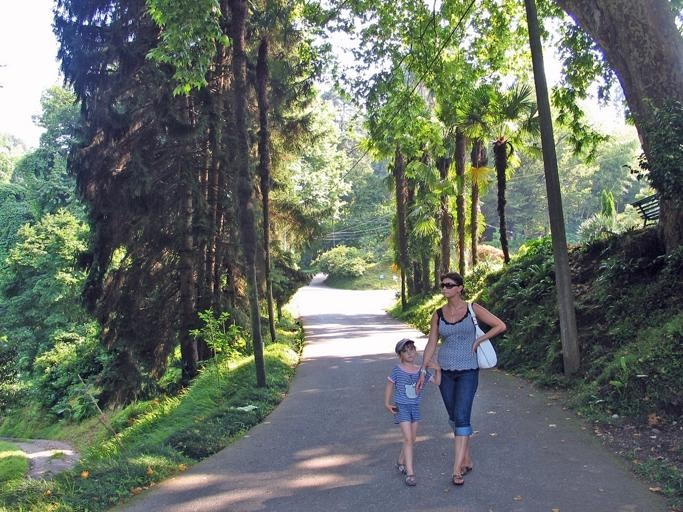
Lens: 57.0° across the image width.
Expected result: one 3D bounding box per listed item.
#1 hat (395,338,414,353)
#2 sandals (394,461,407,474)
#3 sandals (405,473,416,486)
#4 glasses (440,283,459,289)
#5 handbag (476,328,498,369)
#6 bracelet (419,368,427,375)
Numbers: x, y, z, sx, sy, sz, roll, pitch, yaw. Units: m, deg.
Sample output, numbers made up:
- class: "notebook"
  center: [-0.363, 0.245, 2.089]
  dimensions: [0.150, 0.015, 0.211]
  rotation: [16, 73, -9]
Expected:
- class: "hat"
  center: [0.981, 1.434, 9.892]
  dimensions: [0.247, 0.249, 0.227]
  rotation: [-4, 2, 12]
- class: "sandals"
  center: [0.959, 3.470, 10.246]
  dimensions: [0.157, 0.192, 0.511]
  rotation: [0, -12, -6]
- class: "sandals"
  center: [1.088, 3.525, 9.915]
  dimensions: [0.179, 0.155, 0.240]
  rotation: [-4, 2, 5]
- class: "glasses"
  center: [1.677, 0.461, 9.744]
  dimensions: [0.245, 0.096, 0.100]
  rotation: [-5, 2, 11]
- class: "handbag"
  center: [2.322, 1.493, 10.147]
  dimensions: [0.293, 0.809, 0.854]
  rotation: [-3, 3, 14]
- class: "bracelet"
  center: [1.283, 1.827, 9.904]
  dimensions: [0.084, 0.171, 0.094]
  rotation: [-1, 6, 27]
